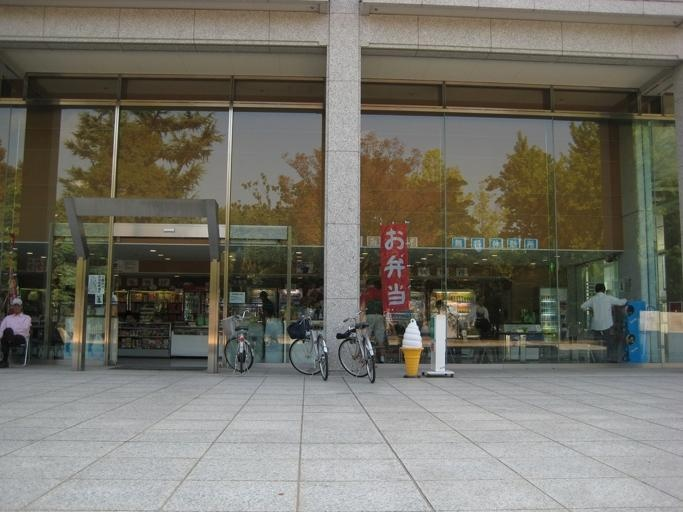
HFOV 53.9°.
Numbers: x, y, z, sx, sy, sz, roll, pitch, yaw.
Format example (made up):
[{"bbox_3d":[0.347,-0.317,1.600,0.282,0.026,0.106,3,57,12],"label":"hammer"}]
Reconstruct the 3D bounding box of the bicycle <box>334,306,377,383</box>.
[{"bbox_3d":[0.282,2.065,15.150,0.660,1.486,1.909,-1,-7,-9],"label":"bicycle"}]

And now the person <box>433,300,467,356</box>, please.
[{"bbox_3d":[2.918,1.930,17.937,0.740,1.565,0.310,-2,-7,1],"label":"person"}]

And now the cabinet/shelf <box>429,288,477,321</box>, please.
[{"bbox_3d":[2.996,1.263,18.261,1.397,1.284,0.754,1,-6,0],"label":"cabinet/shelf"}]

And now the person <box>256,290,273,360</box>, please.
[{"bbox_3d":[-1.921,1.786,17.385,0.358,1.768,0.120,-1,-7,-8],"label":"person"}]

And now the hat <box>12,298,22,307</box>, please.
[{"bbox_3d":[-8.262,1.188,17.056,0.283,0.197,0.458,1,1,-13],"label":"hat"}]

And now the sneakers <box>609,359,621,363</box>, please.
[{"bbox_3d":[7.521,2.844,18.258,0.312,0.096,0.047,-2,-7,3],"label":"sneakers"}]

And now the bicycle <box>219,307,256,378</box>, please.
[{"bbox_3d":[-2.529,2.060,16.618,0.766,1.592,1.497,-1,-7,-7],"label":"bicycle"}]

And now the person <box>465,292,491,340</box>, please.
[{"bbox_3d":[3.714,1.613,17.957,0.616,1.178,0.155,-3,-7,8],"label":"person"}]
